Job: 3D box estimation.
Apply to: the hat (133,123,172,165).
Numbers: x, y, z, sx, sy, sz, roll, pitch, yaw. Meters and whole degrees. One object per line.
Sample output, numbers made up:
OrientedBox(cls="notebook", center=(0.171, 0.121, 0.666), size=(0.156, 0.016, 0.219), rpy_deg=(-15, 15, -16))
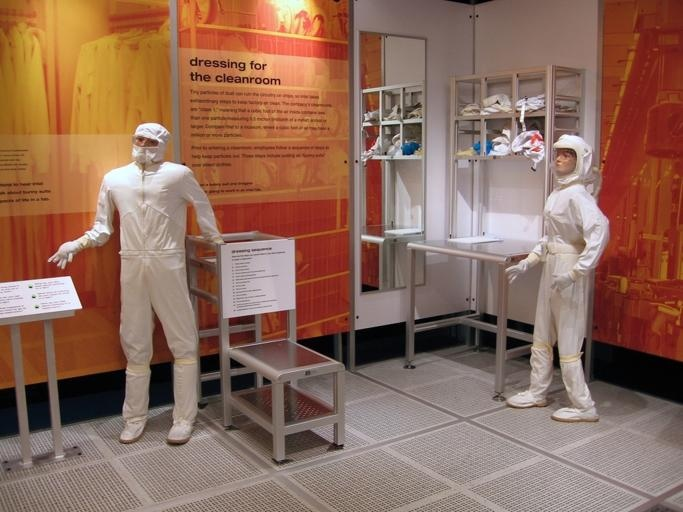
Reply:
OrientedBox(cls="hat", center=(-1.231, -0.723, 3.539), size=(0.200, 0.263, 0.269), rpy_deg=(11, 15, 20))

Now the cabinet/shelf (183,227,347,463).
OrientedBox(cls="cabinet/shelf", center=(-0.563, 0.551, 3.748), size=(0.540, 1.263, 1.356), rpy_deg=(-3, 3, -33))

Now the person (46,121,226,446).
OrientedBox(cls="person", center=(-1.254, 0.173, 3.572), size=(0.865, 2.027, 0.469), rpy_deg=(0, 10, 3))

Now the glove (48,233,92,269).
OrientedBox(cls="glove", center=(-1.739, -0.019, 3.477), size=(0.235, 0.213, 0.120), rpy_deg=(-6, 11, -30))

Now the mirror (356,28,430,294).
OrientedBox(cls="mirror", center=(0.469, -0.803, 4.827), size=(0.744, 2.224, 0.216), rpy_deg=(-8, 12, -38))
